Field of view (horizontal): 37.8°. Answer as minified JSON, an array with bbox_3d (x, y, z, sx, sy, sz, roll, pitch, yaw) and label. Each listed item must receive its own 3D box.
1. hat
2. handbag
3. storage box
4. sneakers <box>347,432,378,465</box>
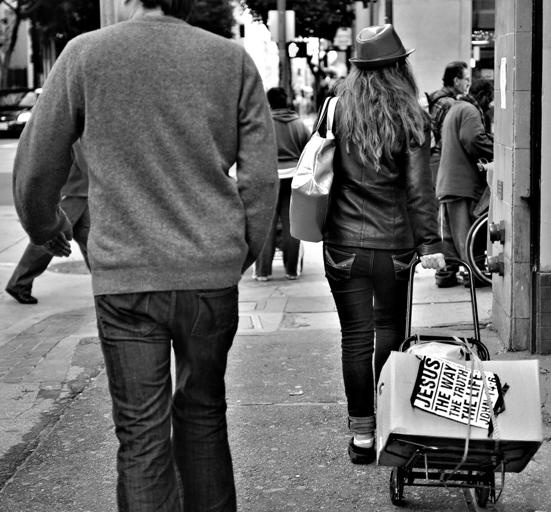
[{"bbox_3d":[0.524,-0.961,3.813,0.186,0.111,0.272,9,41,30],"label":"hat"},{"bbox_3d":[0.185,-0.409,3.772,0.213,0.671,0.295,0,8,5],"label":"handbag"},{"bbox_3d":[0.686,0.667,3.182,0.656,0.424,0.439,3,-16,-3],"label":"storage box"},{"bbox_3d":[0.419,0.920,3.845,0.081,0.077,0.169,2,6,8],"label":"sneakers"}]
